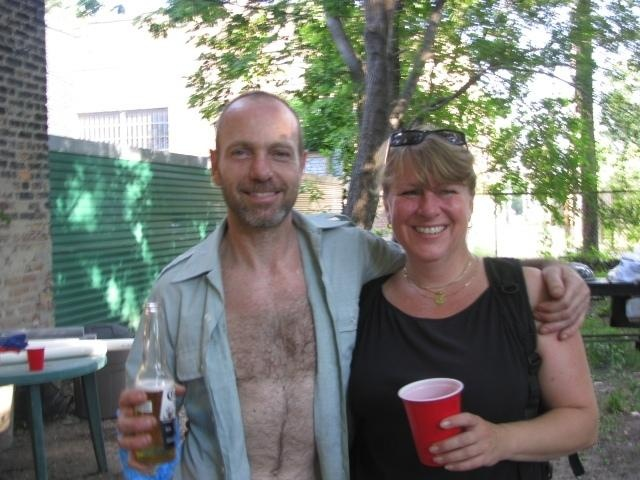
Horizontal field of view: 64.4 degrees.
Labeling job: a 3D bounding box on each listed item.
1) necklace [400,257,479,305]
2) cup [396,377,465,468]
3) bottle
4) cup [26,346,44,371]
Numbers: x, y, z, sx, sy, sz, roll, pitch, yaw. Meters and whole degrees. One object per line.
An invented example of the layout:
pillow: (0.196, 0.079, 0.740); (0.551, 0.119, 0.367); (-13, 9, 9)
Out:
necklace: (0.634, 0.229, 2.511); (0.240, 0.295, 0.057); (-11, -20, 17)
cup: (0.444, 0.755, 2.082); (0.238, 0.349, 0.177); (0, -1, -12)
bottle: (-0.753, 0.639, 2.310); (0.183, 0.701, 0.295); (0, -1, -21)
cup: (-2.249, 0.942, 4.002); (0.119, 0.184, 0.181); (0, -1, -32)
